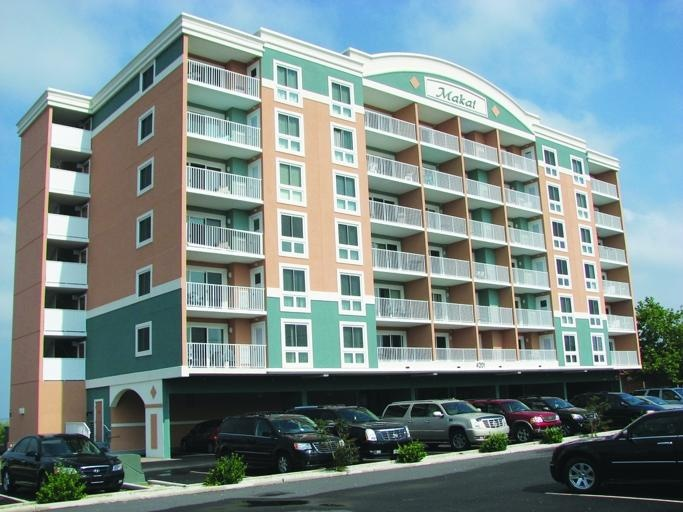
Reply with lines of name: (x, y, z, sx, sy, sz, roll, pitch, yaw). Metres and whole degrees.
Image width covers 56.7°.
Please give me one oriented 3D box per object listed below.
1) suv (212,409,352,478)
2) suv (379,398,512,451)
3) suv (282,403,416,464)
suv: (-2.293, 6.773, 23.123, 4.380, 2.127, 1.522, -14, -22, 29)
suv: (4.597, 7.677, 28.795, 4.755, 1.665, 2.679, -11, -14, 37)
suv: (0.018, 7.259, 25.969, 5.037, 1.650, 2.388, -13, -16, 41)
